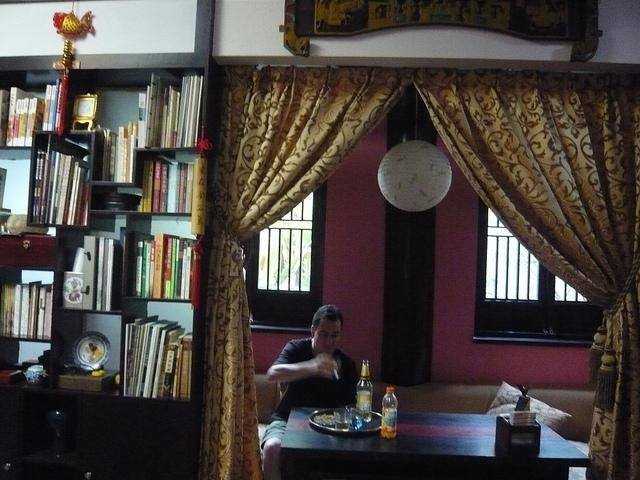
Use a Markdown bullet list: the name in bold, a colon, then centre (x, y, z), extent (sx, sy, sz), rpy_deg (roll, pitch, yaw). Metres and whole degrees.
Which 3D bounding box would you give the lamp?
- **lamp**: centre (0.618, -0.451, 3.600), extent (0.417, 1.011, 0.442), rpy_deg (1, 0, -17)

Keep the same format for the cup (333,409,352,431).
- **cup**: centre (0.135, 1.049, 3.483), extent (0.072, 0.090, 0.076), rpy_deg (1, 0, 0)
